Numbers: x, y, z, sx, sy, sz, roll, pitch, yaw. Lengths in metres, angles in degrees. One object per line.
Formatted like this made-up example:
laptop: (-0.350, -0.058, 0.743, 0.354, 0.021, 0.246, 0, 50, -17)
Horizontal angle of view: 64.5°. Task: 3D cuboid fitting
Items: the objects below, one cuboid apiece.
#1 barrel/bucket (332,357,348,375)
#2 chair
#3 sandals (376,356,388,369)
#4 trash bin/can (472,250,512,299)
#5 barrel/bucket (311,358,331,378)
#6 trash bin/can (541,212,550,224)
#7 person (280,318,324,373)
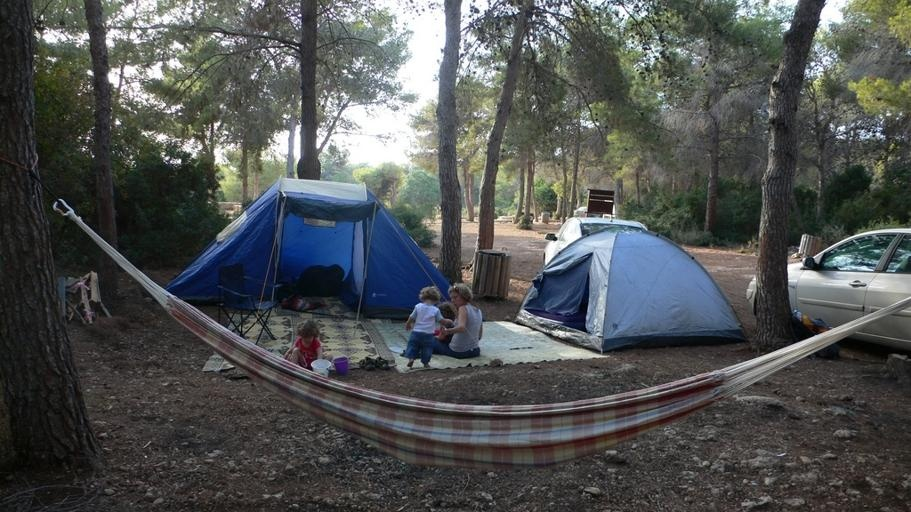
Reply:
barrel/bucket: (-2.258, 2.147, 14.154, 0.325, 0.237, 0.325, -3, 1, 0)
chair: (-4.564, 1.054, 15.617, 1.387, 2.010, 1.691, 1, 3, 12)
sandals: (-1.484, 2.165, 14.598, 0.138, 0.113, 0.284, -7, 12, -42)
trash bin/can: (0.817, 0.478, 19.406, 1.294, 1.268, 1.225, -1, 5, -25)
barrel/bucket: (-2.609, 2.101, 13.804, 0.409, 0.265, 0.386, 3, 9, 0)
trash bin/can: (6.122, -2.594, 49.037, 0.864, 0.823, 0.818, -1, 1, -7)
person: (-3.031, 1.747, 14.236, 0.739, 0.913, 0.737, 1, -3, -8)
